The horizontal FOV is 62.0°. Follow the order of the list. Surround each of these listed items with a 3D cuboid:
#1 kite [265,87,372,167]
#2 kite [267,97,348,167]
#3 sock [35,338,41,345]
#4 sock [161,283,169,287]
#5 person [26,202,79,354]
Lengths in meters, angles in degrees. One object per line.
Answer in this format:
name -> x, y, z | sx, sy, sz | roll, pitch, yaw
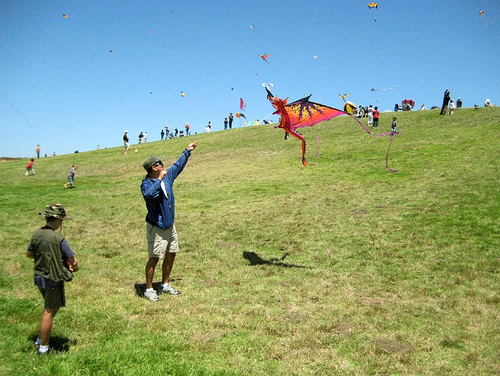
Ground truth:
kite -> 1.653, -2.270, 12.809 | 2.508, 0.804, 2.439 | 29, -13, -26
kite -> 3.072, -2.540, 22.226 | 3.867, 2.492, 5.842 | 16, 6, -10
sock -> -4.303, 3.096, 8.426 | 0.069, 0.112, 0.111 | 18, -11, -17
sock -> -2.311, 2.578, 11.146 | 0.185, 0.097, 0.127 | -5, 6, -15
person -> -4.027, 1.806, 8.504 | 0.868, 2.876, 0.611 | -7, 7, -32
